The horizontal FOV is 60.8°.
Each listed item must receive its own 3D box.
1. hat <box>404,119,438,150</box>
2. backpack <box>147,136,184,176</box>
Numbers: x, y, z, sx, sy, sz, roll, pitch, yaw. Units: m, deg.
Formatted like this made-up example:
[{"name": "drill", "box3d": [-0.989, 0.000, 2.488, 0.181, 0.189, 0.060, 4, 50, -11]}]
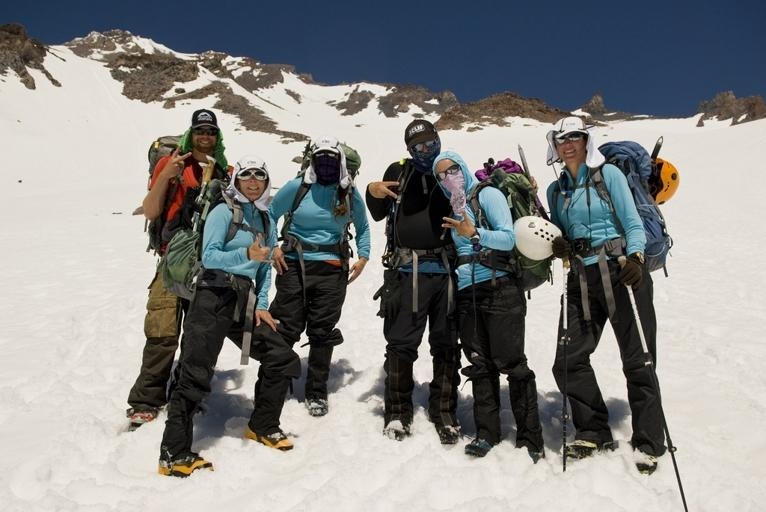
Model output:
[{"name": "hat", "box3d": [0.828, -2.588, 13.995, 0.672, 0.629, 0.316, -1, 10, 4]}, {"name": "backpack", "box3d": [-4.859, -2.298, 14.573, 0.774, 0.984, 0.430, 9, 4, -7]}]
